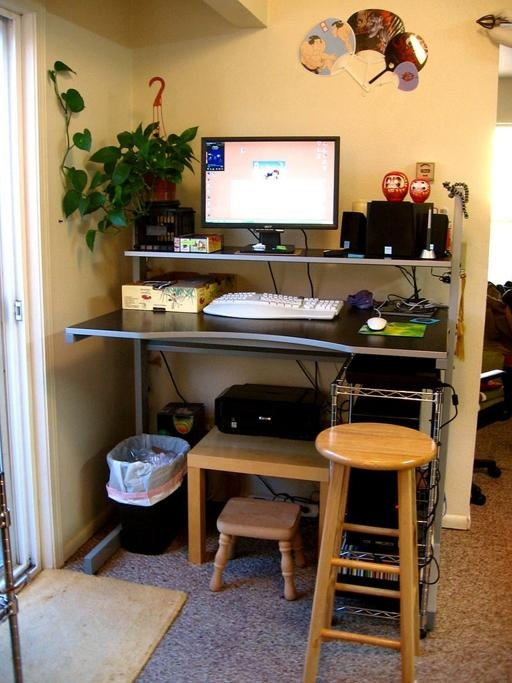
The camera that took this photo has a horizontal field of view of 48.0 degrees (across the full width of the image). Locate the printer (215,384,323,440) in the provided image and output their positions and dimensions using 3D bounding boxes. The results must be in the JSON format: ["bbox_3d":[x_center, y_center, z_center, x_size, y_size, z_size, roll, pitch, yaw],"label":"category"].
[{"bbox_3d":[0.067,0.273,2.349,0.316,0.118,0.221,3,10,15],"label":"printer"}]

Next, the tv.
[{"bbox_3d":[0.050,-0.564,2.145,0.512,0.368,0.146,2,12,10],"label":"tv"}]

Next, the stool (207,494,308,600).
[{"bbox_3d":[0.007,0.706,2.066,0.299,0.233,0.297,1,5,11],"label":"stool"}]

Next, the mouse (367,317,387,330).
[{"bbox_3d":[0.375,-0.068,1.785,0.047,0.015,0.044,-6,35,4],"label":"mouse"}]

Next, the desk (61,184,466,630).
[{"bbox_3d":[0.022,0.217,2.040,1.466,1.670,0.888,2,8,14],"label":"desk"}]

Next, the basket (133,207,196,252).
[{"bbox_3d":[-0.374,-0.477,2.312,0.202,0.143,0.200,4,18,13],"label":"basket"}]

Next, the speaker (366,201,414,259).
[{"bbox_3d":[0.462,-0.387,1.970,0.175,0.230,0.119,3,17,16],"label":"speaker"}]

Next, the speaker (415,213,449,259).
[{"bbox_3d":[0.615,-0.368,2.015,0.107,0.156,0.227,3,9,18],"label":"speaker"}]

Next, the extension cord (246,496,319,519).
[{"bbox_3d":[0.112,0.645,2.246,0.180,0.041,0.164,2,5,21],"label":"extension cord"}]

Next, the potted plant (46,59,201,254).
[{"bbox_3d":[-0.382,-0.714,2.400,0.735,0.826,0.531,-8,17,-23],"label":"potted plant"}]
